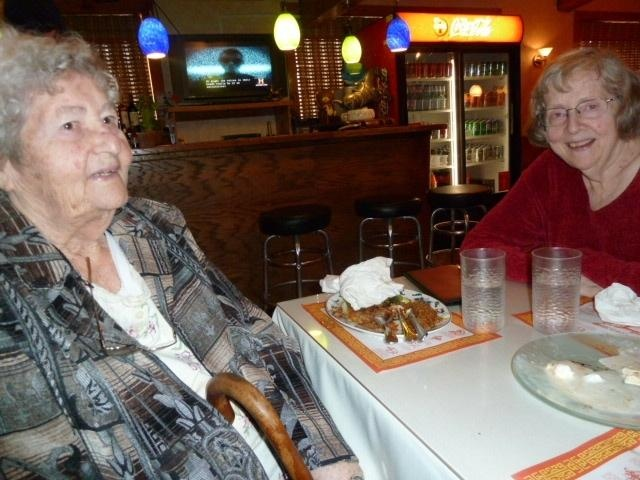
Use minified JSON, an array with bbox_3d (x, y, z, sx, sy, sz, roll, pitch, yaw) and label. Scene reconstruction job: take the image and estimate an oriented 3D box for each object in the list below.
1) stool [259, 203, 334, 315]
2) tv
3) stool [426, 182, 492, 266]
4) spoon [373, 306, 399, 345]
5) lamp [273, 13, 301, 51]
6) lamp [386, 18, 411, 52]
[{"bbox_3d":[-0.121,0.140,2.866,0.461,0.502,0.432,2,-9,-43],"label":"stool"},{"bbox_3d":[-1.119,-1.792,5.040,1.384,0.677,0.659,-16,26,-31],"label":"tv"},{"bbox_3d":[1.020,-0.139,3.471,0.400,0.350,0.349,20,-9,-7],"label":"stool"},{"bbox_3d":[0.172,0.226,1.223,0.056,0.018,0.144,-8,15,10],"label":"spoon"},{"bbox_3d":[-0.248,-1.779,3.982,0.285,0.304,0.229,-4,29,-9],"label":"lamp"},{"bbox_3d":[0.710,-1.871,4.294,0.200,0.278,0.237,-6,14,4],"label":"lamp"}]
